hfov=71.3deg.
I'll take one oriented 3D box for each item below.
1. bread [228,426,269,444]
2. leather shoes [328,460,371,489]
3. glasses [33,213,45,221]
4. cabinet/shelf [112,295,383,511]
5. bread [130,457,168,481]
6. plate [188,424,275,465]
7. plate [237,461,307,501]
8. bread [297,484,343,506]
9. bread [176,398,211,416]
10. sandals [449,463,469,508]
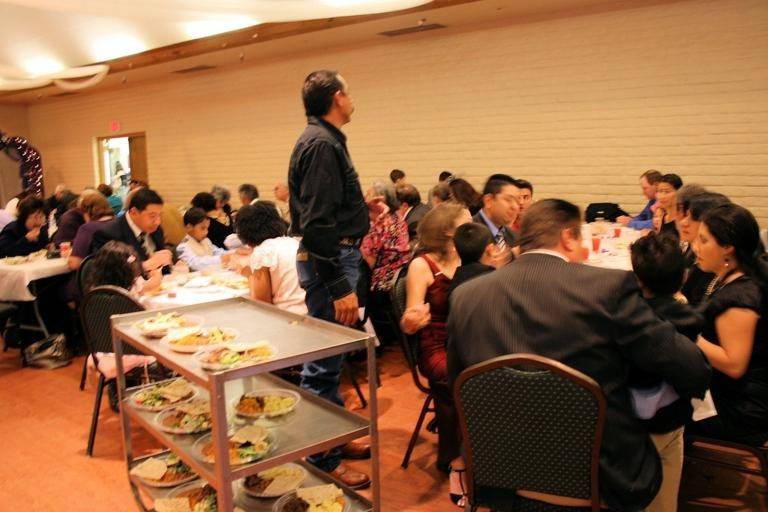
[{"bbox_3d":[-0.666,0.883,2.661,0.098,0.020,0.096,13,14,31],"label":"bread"},{"bbox_3d":[-0.276,1.380,3.375,0.353,0.112,0.123,4,10,23],"label":"leather shoes"},{"bbox_3d":[-3.951,-0.449,6.143,0.073,0.064,0.072,-12,14,-44],"label":"glasses"},{"bbox_3d":[-0.783,0.827,2.971,0.792,0.914,1.380,-6,10,-38],"label":"cabinet/shelf"},{"bbox_3d":[-1.357,1.236,3.100,0.141,0.029,0.128,9,8,4],"label":"bread"},{"bbox_3d":[-0.698,0.951,2.608,0.285,0.049,0.292,-8,1,45],"label":"plate"},{"bbox_3d":[-0.580,1.230,2.951,0.433,0.039,0.417,-4,2,22],"label":"plate"},{"bbox_3d":[-0.344,1.257,2.824,0.144,0.036,0.093,4,15,-23],"label":"bread"},{"bbox_3d":[-1.044,0.841,2.988,0.115,0.028,0.112,9,12,43],"label":"bread"},{"bbox_3d":[0.415,1.431,3.308,0.140,0.132,0.372,-1,-8,-1],"label":"sandals"}]
